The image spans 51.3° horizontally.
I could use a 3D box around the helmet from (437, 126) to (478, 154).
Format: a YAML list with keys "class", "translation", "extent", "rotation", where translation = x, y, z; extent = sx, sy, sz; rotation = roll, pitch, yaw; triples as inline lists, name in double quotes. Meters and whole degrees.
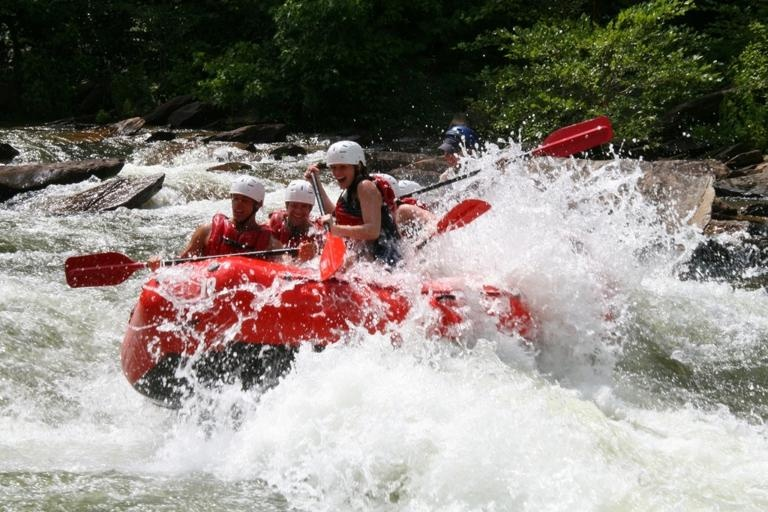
- class: "helmet"
  translation: [1.064, -1.660, 11.379]
  extent: [0.553, 0.322, 0.377]
  rotation: [-1, 4, -32]

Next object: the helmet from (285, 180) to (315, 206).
- class: "helmet"
  translation: [-1.039, -0.811, 9.902]
  extent: [0.250, 0.357, 0.288]
  rotation: [5, 57, -3]

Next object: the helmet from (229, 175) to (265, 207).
- class: "helmet"
  translation: [-1.603, -0.826, 9.389]
  extent: [0.264, 0.387, 0.285]
  rotation: [8, 42, 15]

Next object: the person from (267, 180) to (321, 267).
- class: "person"
  translation: [-1.047, -0.388, 9.656]
  extent: [0.657, 0.991, 0.400]
  rotation: [2, 2, -15]
